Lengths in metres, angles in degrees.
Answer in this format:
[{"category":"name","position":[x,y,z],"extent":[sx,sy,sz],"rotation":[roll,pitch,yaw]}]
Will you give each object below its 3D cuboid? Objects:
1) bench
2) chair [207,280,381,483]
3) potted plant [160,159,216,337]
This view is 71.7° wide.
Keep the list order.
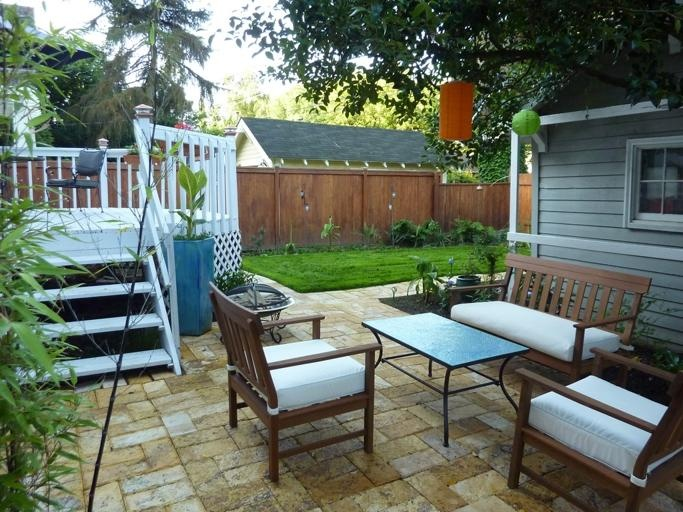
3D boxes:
[{"category":"bench","position":[1.905,0.618,4.659],"extent":[1.040,0.953,1.634],"rotation":[-9,12,-30]},{"category":"chair","position":[-0.311,0.826,3.864],"extent":[1.358,1.467,1.237],"rotation":[-6,11,-29]},{"category":"potted plant","position":[-1.701,-0.082,5.698],"extent":[0.702,2.011,0.623],"rotation":[-3,4,-32]}]
